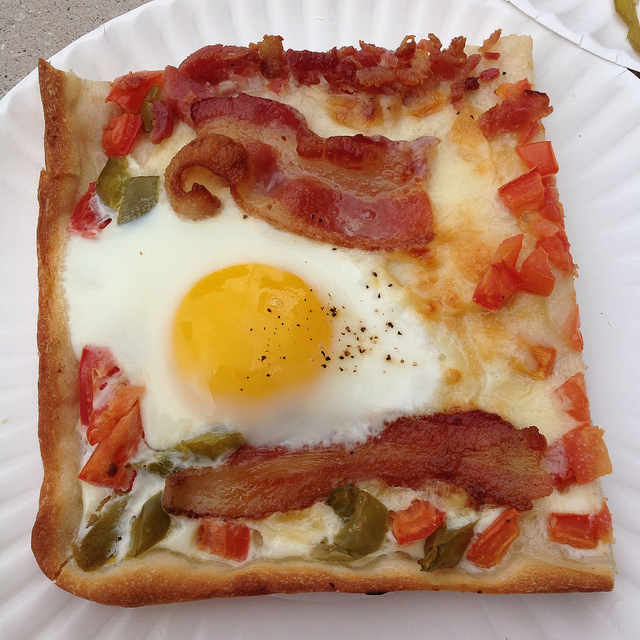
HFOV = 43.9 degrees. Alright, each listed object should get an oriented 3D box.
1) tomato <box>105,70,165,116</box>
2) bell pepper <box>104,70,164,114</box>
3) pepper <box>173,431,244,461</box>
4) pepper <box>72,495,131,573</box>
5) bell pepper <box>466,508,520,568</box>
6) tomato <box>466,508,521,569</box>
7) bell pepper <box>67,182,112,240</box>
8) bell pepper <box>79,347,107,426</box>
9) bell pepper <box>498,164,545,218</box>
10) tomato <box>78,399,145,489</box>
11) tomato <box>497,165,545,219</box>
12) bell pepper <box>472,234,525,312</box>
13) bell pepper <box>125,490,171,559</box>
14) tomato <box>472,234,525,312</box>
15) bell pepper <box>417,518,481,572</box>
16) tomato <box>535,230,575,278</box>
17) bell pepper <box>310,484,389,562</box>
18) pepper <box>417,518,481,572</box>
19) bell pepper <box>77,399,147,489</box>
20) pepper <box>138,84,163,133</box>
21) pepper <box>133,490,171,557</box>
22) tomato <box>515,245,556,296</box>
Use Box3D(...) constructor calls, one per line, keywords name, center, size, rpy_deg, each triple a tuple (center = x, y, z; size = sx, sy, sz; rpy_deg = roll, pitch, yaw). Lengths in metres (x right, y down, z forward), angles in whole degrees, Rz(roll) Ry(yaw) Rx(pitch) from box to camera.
Box3D(name="tomato", center=(-0.806, -0.977, 3.424), size=(0.265, 0.338, 0.100), rpy_deg=(-12, 94, -49))
Box3D(name="bell pepper", center=(-0.789, -0.984, 3.296), size=(0.192, 0.063, 0.197), rpy_deg=(34, 86, -2))
Box3D(name="pepper", center=(-0.402, 0.453, 2.952), size=(0.179, 0.116, 0.052), rpy_deg=(-27, 122, -17))
Box3D(name="pepper", center=(-0.816, 0.809, 2.995), size=(0.153, 0.063, 0.273), rpy_deg=(26, 79, 8))
Box3D(name="bell pepper", center=(0.639, 0.802, 2.995), size=(0.254, 0.074, 0.141), rpy_deg=(-46, 105, -2))
Box3D(name="tomato", center=(0.639, 0.816, 3.002), size=(0.247, 0.083, 0.154), rpy_deg=(-45, 97, 0))
Box3D(name="bell pepper", center=(-0.960, -0.421, 3.266), size=(0.163, 0.260, 0.058), rpy_deg=(-42, 130, -4))
Box3D(name="bell pepper", center=(-0.897, 0.251, 3.060), size=(0.063, 0.145, 0.265), rpy_deg=(6, 88, -37))
Box3D(name="bell pepper", center=(0.800, -0.501, 3.145), size=(0.180, 0.076, 0.183), rpy_deg=(-28, 75, 5))
Box3D(name="tomato", center=(-0.794, 0.484, 3.029), size=(0.191, 0.090, 0.331), rpy_deg=(28, 81, -26))
Box3D(name="tomato", center=(0.791, -0.505, 3.099), size=(0.183, 0.065, 0.182), rpy_deg=(-30, 80, 5))
Box3D(name="bell pepper", center=(0.684, -0.188, 3.015), size=(0.181, 0.098, 0.283), rpy_deg=(18, 86, -40))
Box3D(name="bell pepper", center=(-0.655, 0.709, 2.941), size=(0.061, 0.240, 0.120), rpy_deg=(36, 78, -26))
Box3D(name="tomato", center=(0.670, -0.171, 3.042), size=(0.180, 0.099, 0.284), rpy_deg=(18, 75, -28))
Box3D(name="bell pepper", center=(0.471, 0.801, 2.886), size=(0.224, 0.083, 0.141), rpy_deg=(-39, 59, -9))
Box3D(name="tomato", center=(0.909, -0.272, 3.109), size=(0.172, 0.048, 0.176), rpy_deg=(28, 55, -33))
Box3D(name="bell pepper", center=(0.124, 0.738, 2.876), size=(0.239, 0.113, 0.292), rpy_deg=(-3, 82, 4))
Box3D(name="pepper", center=(0.452, 0.823, 2.890), size=(0.240, 0.132, 0.103), rpy_deg=(-32, 109, 0))
Box3D(name="bell pepper", center=(-0.778, 0.451, 3.050), size=(0.200, 0.105, 0.341), rpy_deg=(35, 75, -32))
Box3D(name="pepper", center=(-0.716, -0.885, 3.319), size=(0.100, 0.040, 0.167), rpy_deg=(5, 79, 24))
Box3D(name="pepper", center=(-0.621, 0.754, 2.910), size=(0.107, 0.050, 0.211), rpy_deg=(40, 71, -12))
Box3D(name="tomato", center=(0.828, -0.186, 2.994), size=(0.138, 0.070, 0.178), rpy_deg=(25, 82, -24))
